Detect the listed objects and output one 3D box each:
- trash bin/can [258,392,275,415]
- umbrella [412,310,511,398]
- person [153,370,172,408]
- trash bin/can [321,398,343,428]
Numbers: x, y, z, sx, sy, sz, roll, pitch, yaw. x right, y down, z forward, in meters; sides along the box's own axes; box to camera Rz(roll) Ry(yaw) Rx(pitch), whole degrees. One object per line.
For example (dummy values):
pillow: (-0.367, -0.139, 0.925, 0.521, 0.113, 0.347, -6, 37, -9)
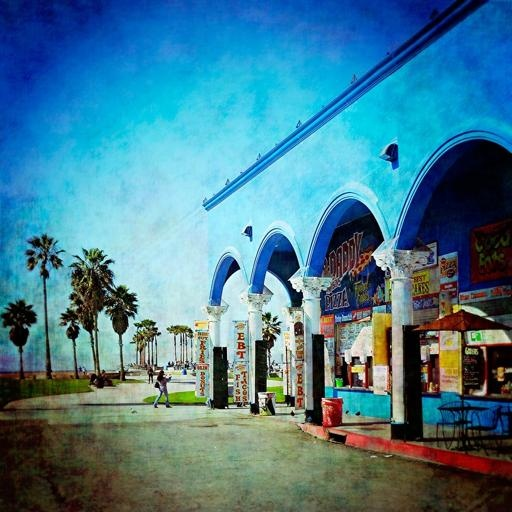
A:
trash bin/can: (0.326, 4.439, 17.005, 0.477, 1.059, 0.473, 7, -12, -37)
umbrella: (4.294, 1.869, 11.112, 1.514, 1.656, 3.261, -6, -13, 36)
person: (-3.254, 4.534, 19.658, 0.542, 1.322, 0.431, -2, 9, -15)
trash bin/can: (1.718, 3.592, 13.050, 0.455, 0.662, 0.530, 1, -9, -7)
